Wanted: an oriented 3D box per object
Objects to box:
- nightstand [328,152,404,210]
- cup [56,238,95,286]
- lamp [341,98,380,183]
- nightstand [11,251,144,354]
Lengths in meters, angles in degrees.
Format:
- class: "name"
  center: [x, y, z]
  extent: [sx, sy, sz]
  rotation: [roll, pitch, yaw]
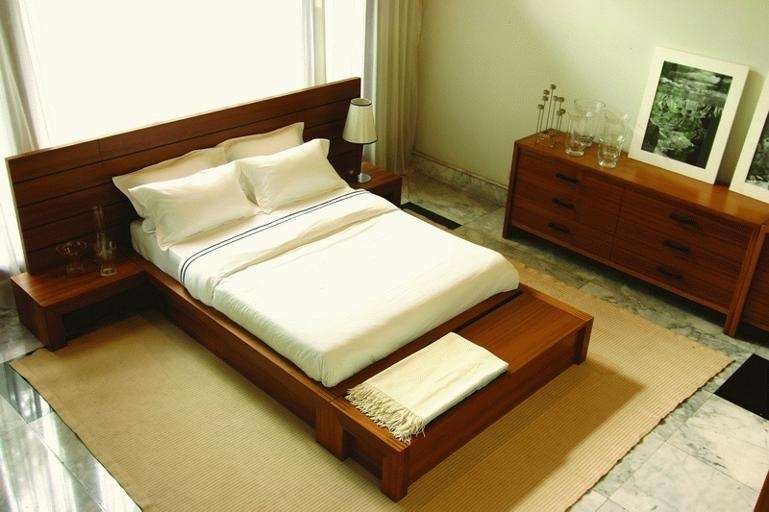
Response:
- class: "nightstand"
  center: [-0.162, -0.782, 5.097]
  extent: [0.544, 0.529, 0.557]
  rotation: [28, 48, 24]
- class: "cup"
  center: [-2.209, 0.020, 3.903]
  extent: [0.288, 0.236, 0.244]
  rotation: [-20, 42, -30]
- class: "lamp"
  center: [-0.236, -1.198, 4.962]
  extent: [0.316, 0.480, 0.339]
  rotation: [6, 36, 2]
- class: "nightstand"
  center: [-2.225, 0.293, 4.029]
  extent: [0.580, 0.372, 0.824]
  rotation: [23, 31, 31]
